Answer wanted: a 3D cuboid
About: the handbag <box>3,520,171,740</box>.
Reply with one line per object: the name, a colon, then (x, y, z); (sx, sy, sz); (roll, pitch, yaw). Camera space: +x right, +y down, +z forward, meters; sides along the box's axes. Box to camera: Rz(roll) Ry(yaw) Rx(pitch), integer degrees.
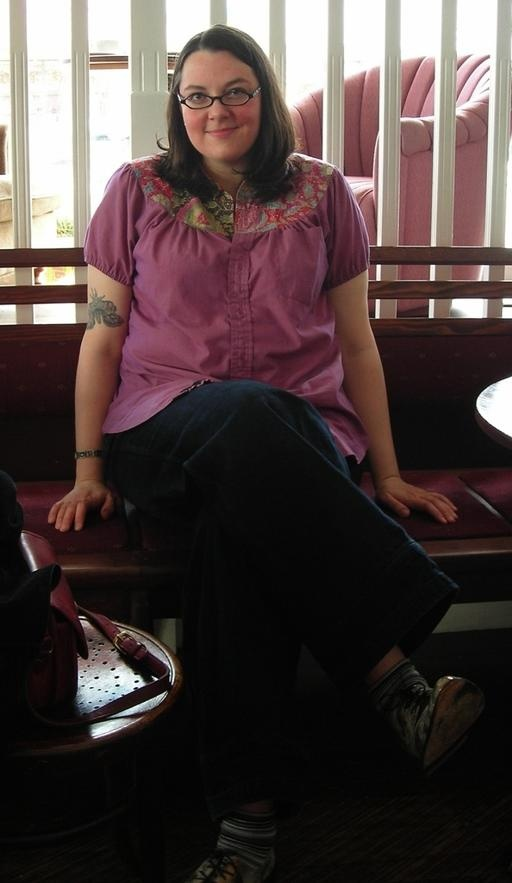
handbag: (-0.156, 0.178, 0.639); (0.167, 0.067, 0.124); (20, 14, -11)
